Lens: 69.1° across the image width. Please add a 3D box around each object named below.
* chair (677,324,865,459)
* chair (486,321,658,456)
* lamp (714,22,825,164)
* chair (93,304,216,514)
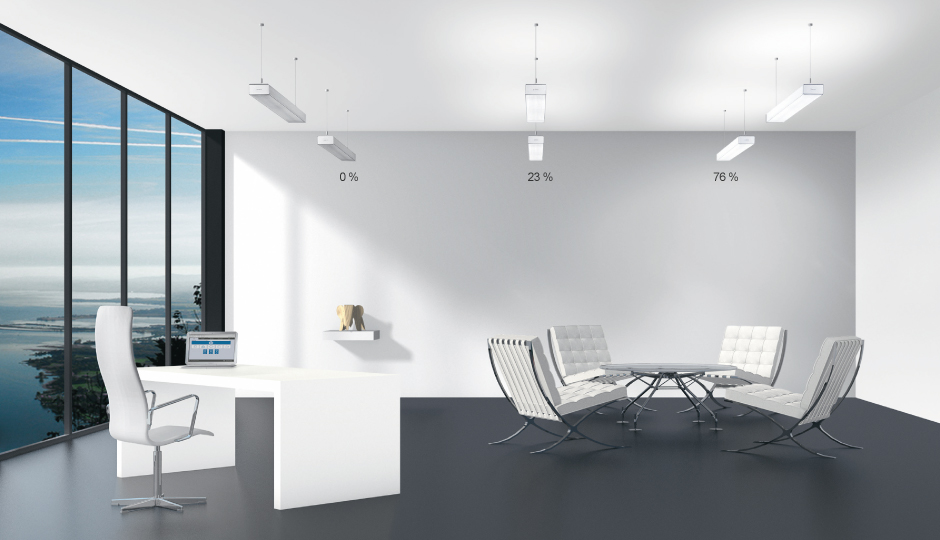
[{"bbox_3d":[4.577,1.792,10.100,2.216,1.809,1.498,-5,-7,40],"label":"chair"},{"bbox_3d":[1.263,1.670,9.829,1.503,1.689,1.774,8,13,38],"label":"chair"},{"bbox_3d":[4.606,-2.574,10.371,1.347,1.759,2.701,3,10,16],"label":"lamp"},{"bbox_3d":[-3.717,1.532,7.957,1.135,2.337,0.926,-1,11,-6],"label":"chair"}]
